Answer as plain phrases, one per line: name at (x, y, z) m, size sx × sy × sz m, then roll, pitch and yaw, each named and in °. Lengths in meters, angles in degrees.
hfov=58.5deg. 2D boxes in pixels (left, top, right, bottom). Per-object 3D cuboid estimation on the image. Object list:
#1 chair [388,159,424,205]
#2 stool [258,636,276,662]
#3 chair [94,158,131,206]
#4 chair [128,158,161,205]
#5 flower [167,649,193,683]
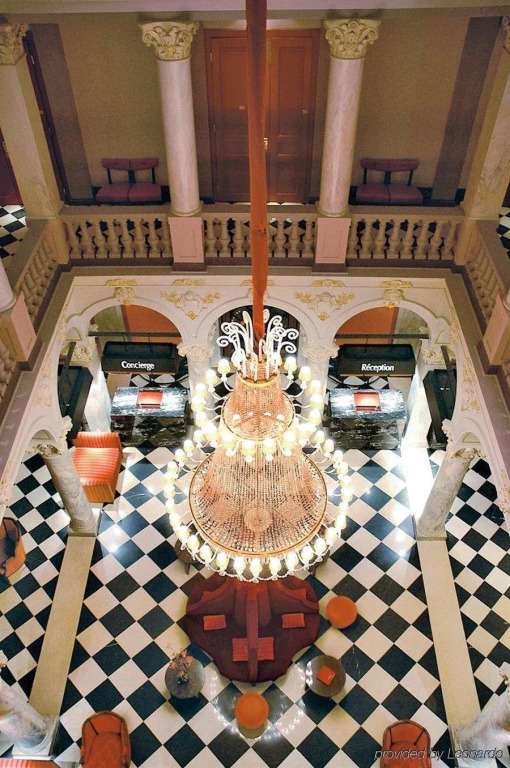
chair at (2.752, -3.562, 8.104) m, size 0.649 × 0.696 × 0.849 m, roll 7°, pitch 35°, yaw 13°
stool at (0.186, 4.071, 7.063) m, size 0.321 × 0.105 × 0.286 m, roll 2°, pitch 62°, yaw -3°
chair at (-2.617, -3.669, 8.310) m, size 0.703 × 0.698 × 0.854 m, roll -7°, pitch 34°, yaw -8°
chair at (-2.050, -3.715, 8.352) m, size 0.636 × 0.679 × 0.890 m, roll -8°, pitch 34°, yaw -9°
flower at (-1.130, 4.292, 7.052) m, size 0.435 × 0.282 × 0.395 m, roll -18°, pitch 75°, yaw 5°
